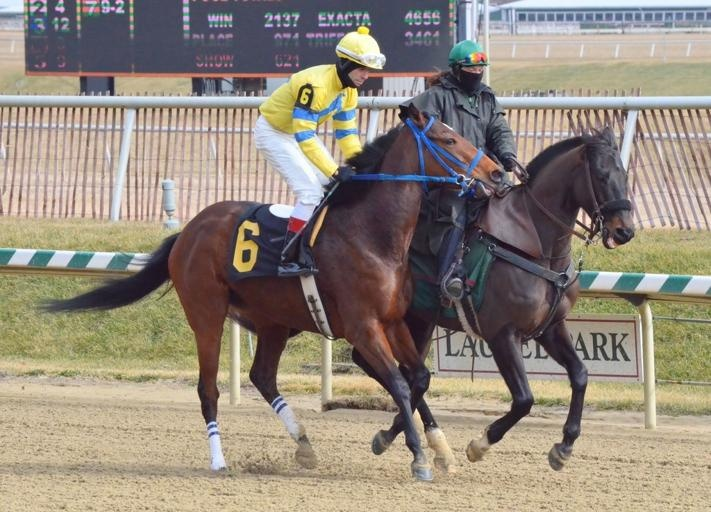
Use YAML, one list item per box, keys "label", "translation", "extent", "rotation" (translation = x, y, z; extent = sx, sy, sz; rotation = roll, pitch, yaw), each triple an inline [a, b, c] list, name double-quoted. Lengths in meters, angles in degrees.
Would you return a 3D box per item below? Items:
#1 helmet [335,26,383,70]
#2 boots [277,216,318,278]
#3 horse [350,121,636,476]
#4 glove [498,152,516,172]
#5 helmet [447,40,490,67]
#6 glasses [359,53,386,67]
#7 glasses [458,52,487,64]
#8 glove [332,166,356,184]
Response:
- label: "helmet"
  translation: [0.056, -1.745, 11.843]
  extent: [0.398, 0.291, 0.303]
  rotation: [16, 10, 22]
- label: "boots"
  translation: [-0.488, -0.062, 11.795]
  extent: [0.192, 0.468, 0.363]
  rotation: [11, -7, -39]
- label: "horse"
  translation: [1.168, 0.536, 12.912]
  extent: [1.029, 2.943, 4.261]
  rotation: [6, -7, -28]
- label: "glove"
  translation: [1.356, -0.805, 12.103]
  extent: [0.110, 0.158, 0.076]
  rotation: [-6, 2, 12]
- label: "helmet"
  translation: [1.025, -1.754, 12.157]
  extent: [0.289, 0.186, 0.228]
  rotation: [3, 15, 32]
- label: "glasses"
  translation: [0.144, -1.624, 11.790]
  extent: [0.123, 0.074, 0.138]
  rotation: [-3, -6, -24]
- label: "glasses"
  translation: [1.070, -1.698, 12.094]
  extent: [0.258, 0.118, 0.142]
  rotation: [-5, 13, -18]
- label: "glove"
  translation: [-0.072, -0.674, 11.791]
  extent: [0.201, 0.135, 0.114]
  rotation: [-13, 17, -43]
